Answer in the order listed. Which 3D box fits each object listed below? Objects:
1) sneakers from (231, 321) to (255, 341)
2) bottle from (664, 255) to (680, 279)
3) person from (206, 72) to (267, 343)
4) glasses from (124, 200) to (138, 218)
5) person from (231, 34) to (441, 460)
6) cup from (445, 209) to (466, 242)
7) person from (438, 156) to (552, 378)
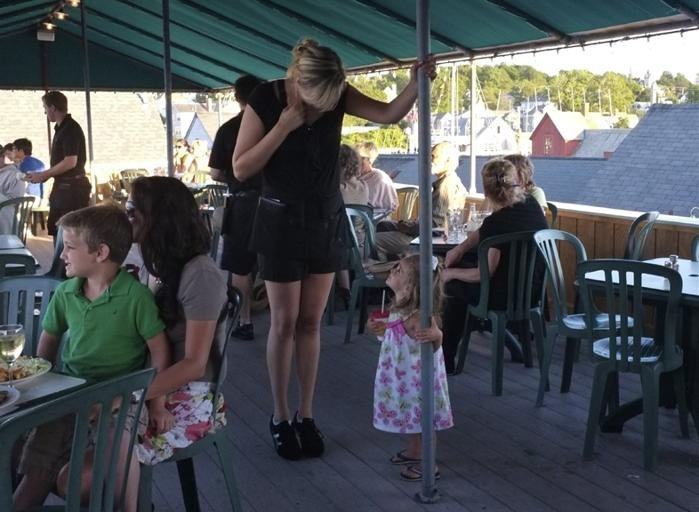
[{"bbox_3d":[-0.847,0.606,4.943,0.127,0.160,0.254,-3,14,-23],"label":"sneakers"},{"bbox_3d":[1.805,0.061,3.471,0.078,0.156,0.084,-12,17,4],"label":"bottle"},{"bbox_3d":[-0.844,-0.337,4.516,0.530,1.917,0.583,6,4,-1],"label":"person"},{"bbox_3d":[-0.862,-0.186,2.443,0.058,0.030,0.057,10,11,-32],"label":"glasses"},{"bbox_3d":[-0.141,0.052,2.973,0.718,2.078,0.530,1,11,9],"label":"person"},{"bbox_3d":[0.830,-0.256,4.912,0.119,0.228,0.130,-3,13,1],"label":"cup"},{"bbox_3d":[0.981,0.089,4.252,0.684,1.476,0.495,3,12,18],"label":"person"}]
